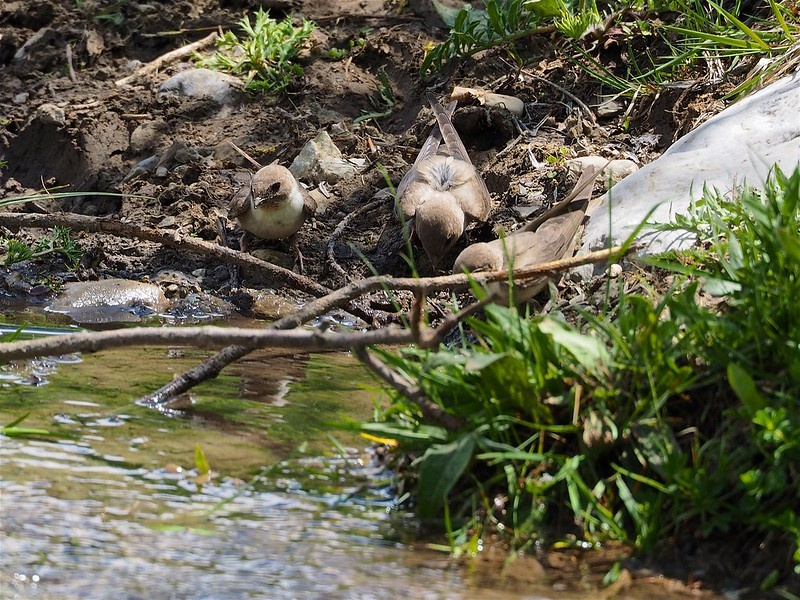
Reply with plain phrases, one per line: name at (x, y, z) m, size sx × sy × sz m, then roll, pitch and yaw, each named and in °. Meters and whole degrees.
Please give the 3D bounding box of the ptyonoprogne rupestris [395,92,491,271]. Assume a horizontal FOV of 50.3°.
ptyonoprogne rupestris at (0.326, -0.921, 6.772) m, size 0.607 × 1.360 × 0.599 m, roll -1°, pitch -9°, yaw 7°

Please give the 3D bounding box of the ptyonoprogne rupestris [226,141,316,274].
ptyonoprogne rupestris at (-1.025, -0.697, 6.888) m, size 0.620 × 0.634 × 1.011 m, roll 1°, pitch 24°, yaw -8°

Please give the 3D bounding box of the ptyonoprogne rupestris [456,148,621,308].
ptyonoprogne rupestris at (0.950, -0.474, 5.702) m, size 0.381 × 1.134 × 0.698 m, roll 49°, pitch 28°, yaw 13°
